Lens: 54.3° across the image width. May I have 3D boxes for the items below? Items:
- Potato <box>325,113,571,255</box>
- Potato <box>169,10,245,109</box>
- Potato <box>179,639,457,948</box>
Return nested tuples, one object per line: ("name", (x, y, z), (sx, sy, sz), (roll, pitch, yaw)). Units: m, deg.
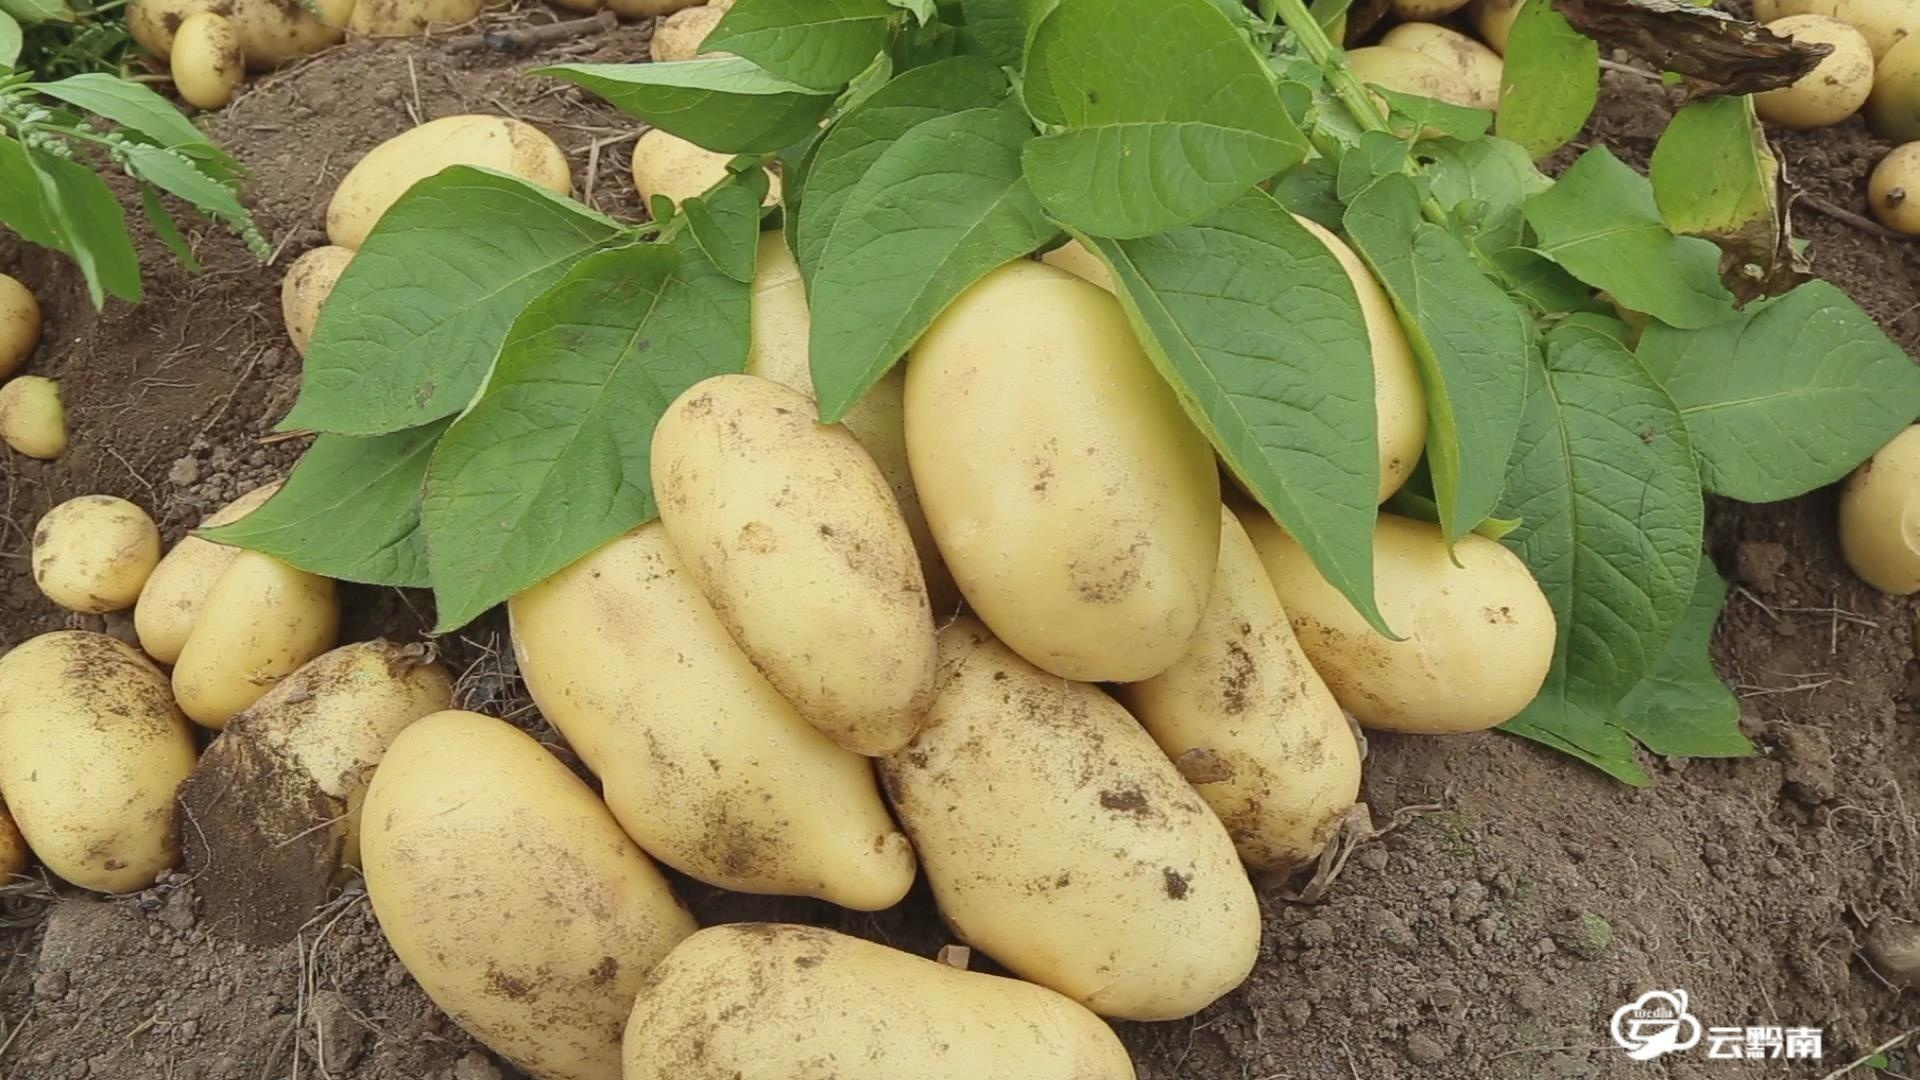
("Potato", (-0.704, -0.521, 2.671), (0.343, 0.191, 0.153), (-27, 89, -15))
("Potato", (-1.128, -0.720, 2.807), (0.106, 0.124, 0.122), (5, 54, 5))
("Potato", (-0.835, 0.333, 2.531), (0.362, 0.269, 0.371), (14, 78, 41))
